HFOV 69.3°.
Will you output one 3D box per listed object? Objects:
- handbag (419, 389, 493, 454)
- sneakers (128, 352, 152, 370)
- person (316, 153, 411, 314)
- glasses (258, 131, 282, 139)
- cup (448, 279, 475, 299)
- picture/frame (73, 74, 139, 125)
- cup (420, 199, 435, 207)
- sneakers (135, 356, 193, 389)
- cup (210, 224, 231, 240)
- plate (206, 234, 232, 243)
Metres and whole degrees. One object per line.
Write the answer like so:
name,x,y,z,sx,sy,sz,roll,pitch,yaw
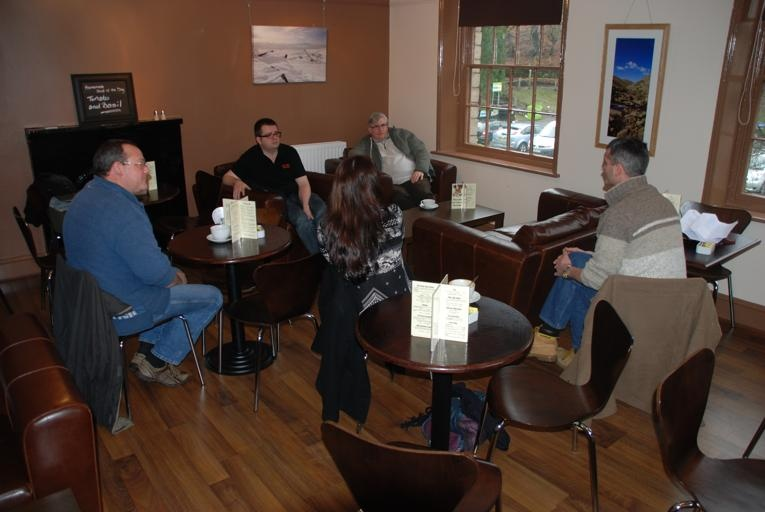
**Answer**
handbag,0.591,1.147,3.910,0.370,0.394,0.152,7,-7,13
sneakers,-1.907,0.817,4.352,0.141,0.144,0.100,6,6,-10
person,-0.127,-0.160,3.721,0.624,1.010,0.267,-2,18,0
glasses,-1.151,-1.249,5.669,0.213,0.056,0.077,-12,21,-29
cup,0.493,0.205,3.289,0.132,0.094,0.136,0,16,0
picture/frame,-2.878,-1.614,5.681,0.055,0.437,0.494,15,26,43
cup,0.508,-0.576,6.053,0.118,0.055,0.101,7,22,27
sneakers,-1.711,0.892,4.329,0.401,0.179,0.186,10,25,-29
cup,-1.284,-0.196,4.422,0.122,0.083,0.126,0,6,0
plate,-1.311,-0.139,4.407,0.107,0.023,0.111,4,17,7
